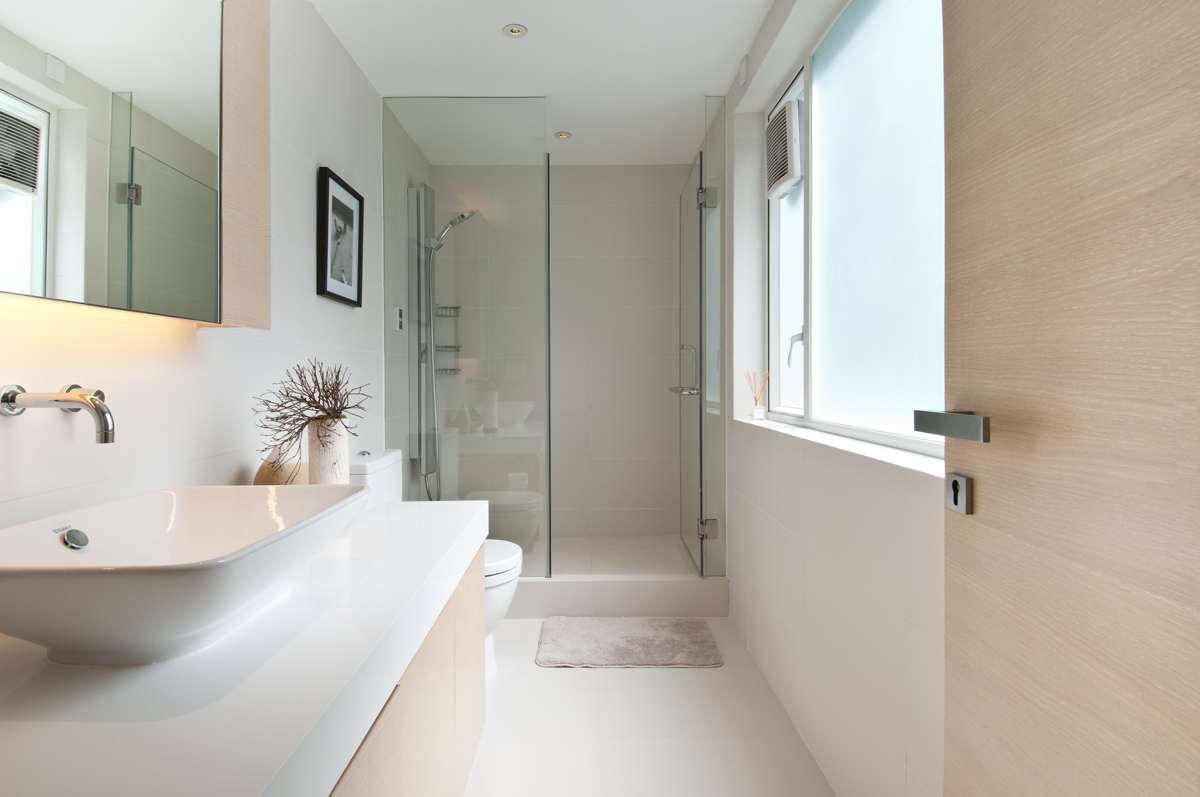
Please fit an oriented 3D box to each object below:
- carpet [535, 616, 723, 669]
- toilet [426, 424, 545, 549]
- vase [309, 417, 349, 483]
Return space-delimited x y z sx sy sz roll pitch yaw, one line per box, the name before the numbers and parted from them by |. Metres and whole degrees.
carpet | 0.121 1.062 3.417 0.791 0.037 0.470 -1 11 1
toilet | -0.492 0.342 3.938 0.733 0.732 0.502 0 5 0
vase | -0.848 0.162 2.403 0.125 0.191 0.154 -5 12 -21
